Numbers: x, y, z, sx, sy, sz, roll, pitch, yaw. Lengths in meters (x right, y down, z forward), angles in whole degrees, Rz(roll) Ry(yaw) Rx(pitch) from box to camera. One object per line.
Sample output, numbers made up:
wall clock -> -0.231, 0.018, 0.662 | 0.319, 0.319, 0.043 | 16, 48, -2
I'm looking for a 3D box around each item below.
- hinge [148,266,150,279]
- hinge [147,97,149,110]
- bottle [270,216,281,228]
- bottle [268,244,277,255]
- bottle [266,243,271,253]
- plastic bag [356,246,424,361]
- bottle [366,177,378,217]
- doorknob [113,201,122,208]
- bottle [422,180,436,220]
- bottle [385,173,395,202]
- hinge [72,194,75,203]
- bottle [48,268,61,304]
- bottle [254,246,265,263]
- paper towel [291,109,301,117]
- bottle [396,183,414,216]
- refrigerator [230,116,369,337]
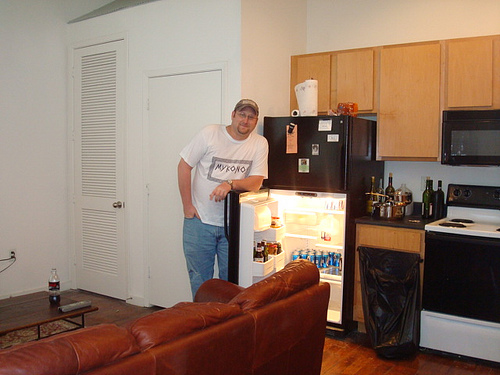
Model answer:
hinge -> -1.058, 0.893, 4.092 | 0.021, 0.133, 0.011 | 0, 3, 26
hinge -> -1.056, -0.868, 4.045 | 0.021, 0.126, 0.005 | 0, 3, 26
bottle -> 0.215, 0.302, 3.363 | 0.072, 0.074, 0.017 | 9, -31, 7
bottle -> 0.190, 0.518, 3.244 | 0.073, 0.145, 0.076 | 0, 0, 0
bottle -> 0.151, 0.502, 3.213 | 0.030, 0.087, 0.114 | -1, 4, 14
plastic bag -> 1.176, 0.986, 3.315 | 0.518, 0.932, 0.252 | 1, 7, 30
bottle -> 1.192, 0.090, 3.795 | 0.109, 0.374, 0.086 | -4, 4, -35
doorknob -> -1.449, 0.186, 4.259 | 0.102, 0.106, 0.058 | 1, 1, 40
bottle -> 1.716, 0.115, 3.735 | 0.115, 0.366, 0.254 | 0, 4, 25
bottle -> 1.389, -0.009, 3.865 | 0.089, 0.259, 0.466 | -1, 4, 19
hinge -> -2.097, 0.132, 4.633 | 0.040, 0.099, 0.010 | 0, 4, 30
bottle -> -1.588, 0.775, 3.159 | 0.082, 0.261, 0.265 | -3, 4, -28
bottle -> 0.068, 0.519, 3.025 | 0.070, 0.119, 0.045 | -2, 3, 0
paper towel -> 0.433, -0.710, 3.726 | 0.058, 0.050, 0.126 | -11, 13, 19
bottle -> 1.533, 0.127, 3.839 | 0.147, 0.315, 0.373 | 0, 4, 23
refrigerator -> 0.340, 0.164, 4.060 | 1.343, 1.979, 1.327 | -3, 12, -36
